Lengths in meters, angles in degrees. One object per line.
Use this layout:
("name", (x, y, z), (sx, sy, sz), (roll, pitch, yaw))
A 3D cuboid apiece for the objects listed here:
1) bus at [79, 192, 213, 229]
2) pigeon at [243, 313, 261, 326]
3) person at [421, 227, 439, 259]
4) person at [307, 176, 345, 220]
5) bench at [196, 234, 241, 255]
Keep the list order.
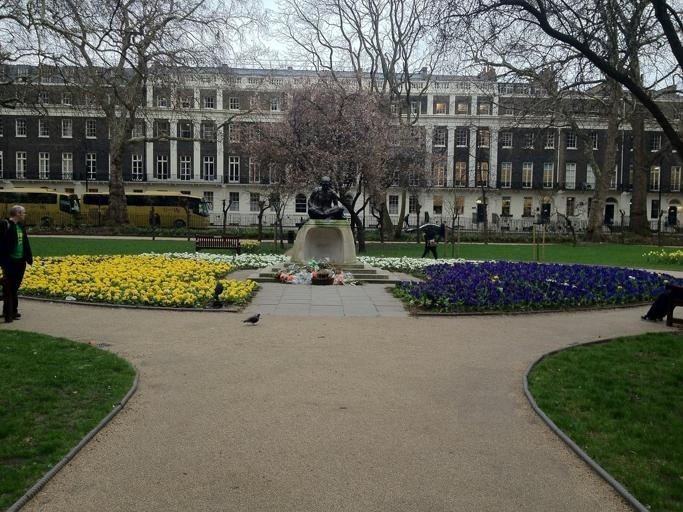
("bus", (-15.472, -3.477, 48.920), (9.165, 3.233, 2.962), (0, 5, -3))
("pigeon", (-1.729, 1.191, 12.054), (0.316, 0.209, 0.442), (-1, 8, -13))
("person", (3.789, -0.611, 27.130), (0.528, 1.397, 2.325), (-1, -13, 13))
("person", (-0.556, -1.866, 20.859), (1.089, 1.600, 0.903), (-2, -2, -6))
("bench", (-5.235, -0.485, 25.802), (1.411, 0.720, 2.740), (-6, 11, -38))
